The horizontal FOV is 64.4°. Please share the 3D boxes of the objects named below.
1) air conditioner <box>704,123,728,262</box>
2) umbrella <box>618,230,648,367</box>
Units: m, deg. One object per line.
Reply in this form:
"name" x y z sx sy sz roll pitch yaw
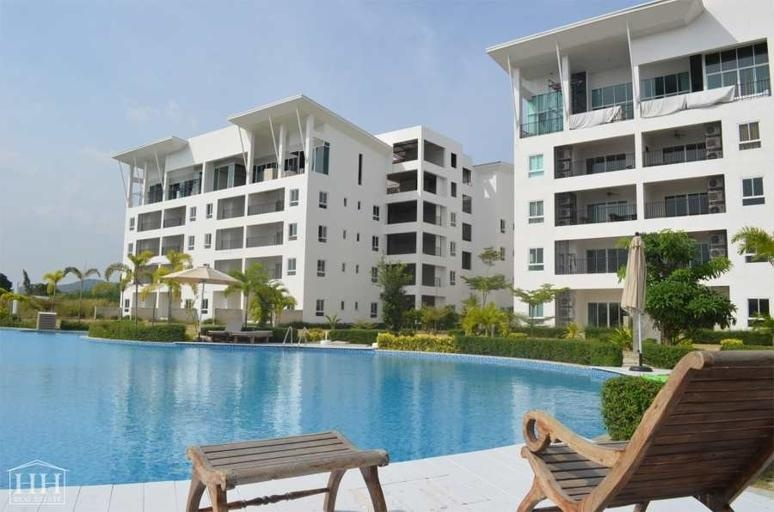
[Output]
"air conditioner" 18.400 -3.796 34.490 1.007 7.529 0.638 -4 -6 34
"umbrella" 10.231 1.601 25.294 1.092 5.181 1.206 8 -10 -38
